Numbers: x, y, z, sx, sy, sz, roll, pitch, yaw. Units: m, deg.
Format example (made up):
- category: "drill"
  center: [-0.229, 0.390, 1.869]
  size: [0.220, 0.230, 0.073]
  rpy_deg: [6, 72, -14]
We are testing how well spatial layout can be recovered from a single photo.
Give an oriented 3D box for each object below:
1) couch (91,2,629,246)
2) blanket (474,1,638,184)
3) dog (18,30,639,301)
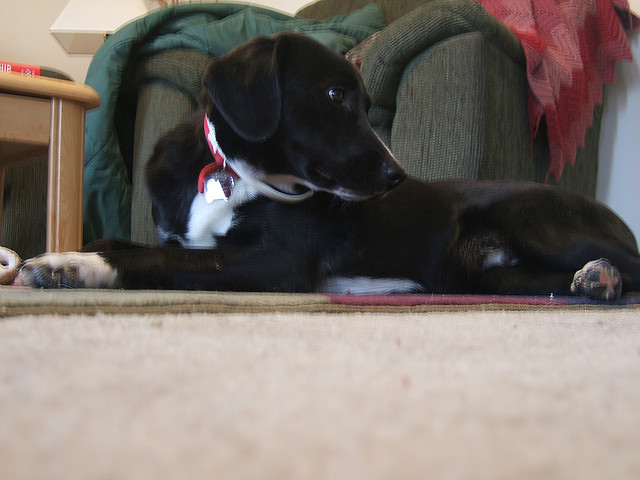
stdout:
- category: "couch"
  center: [0.157, -0.348, 2.635]
  size: [1.459, 1.046, 0.953]
  rpy_deg: [1, -9, 17]
- category: "blanket"
  center: [0.792, -0.539, 2.713]
  size: [0.642, 0.640, 0.239]
  rpy_deg: [3, 12, -11]
- category: "dog"
  center: [0.277, -0.063, 1.979]
  size: [1.816, 0.704, 0.570]
  rpy_deg: [3, -16, -3]
